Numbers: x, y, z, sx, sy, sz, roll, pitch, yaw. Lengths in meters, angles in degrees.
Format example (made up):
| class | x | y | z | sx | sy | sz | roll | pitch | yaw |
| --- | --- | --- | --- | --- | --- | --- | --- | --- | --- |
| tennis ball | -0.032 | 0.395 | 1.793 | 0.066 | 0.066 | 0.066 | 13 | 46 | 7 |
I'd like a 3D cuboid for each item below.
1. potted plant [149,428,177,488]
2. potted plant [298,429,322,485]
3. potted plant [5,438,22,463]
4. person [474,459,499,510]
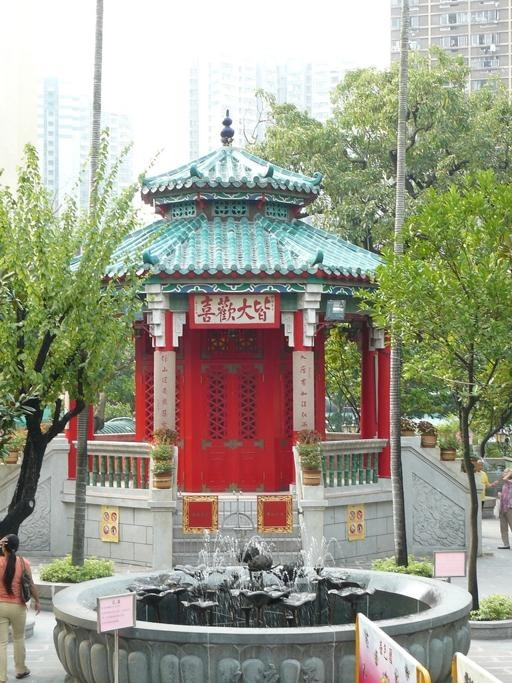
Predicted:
| class | x | y | z | sx | sy | sz | roll | pitch | yaw |
| --- | --- | --- | --- | --- | --- | --- | --- | --- | --- |
| potted plant | -1.288 | 1.634 | 19.707 | 0.346 | 0.860 | 0.590 | -1 | -5 | -4 |
| potted plant | 0.754 | 1.631 | 19.748 | 0.325 | 0.770 | 0.401 | -1 | -5 | 3 |
| potted plant | -3.744 | 1.674 | 21.678 | 0.264 | 0.403 | 0.485 | 0 | -5 | -11 |
| person | 3.865 | 2.579 | 23.906 | 0.333 | 1.196 | 0.314 | 12 | -17 | -33 |
